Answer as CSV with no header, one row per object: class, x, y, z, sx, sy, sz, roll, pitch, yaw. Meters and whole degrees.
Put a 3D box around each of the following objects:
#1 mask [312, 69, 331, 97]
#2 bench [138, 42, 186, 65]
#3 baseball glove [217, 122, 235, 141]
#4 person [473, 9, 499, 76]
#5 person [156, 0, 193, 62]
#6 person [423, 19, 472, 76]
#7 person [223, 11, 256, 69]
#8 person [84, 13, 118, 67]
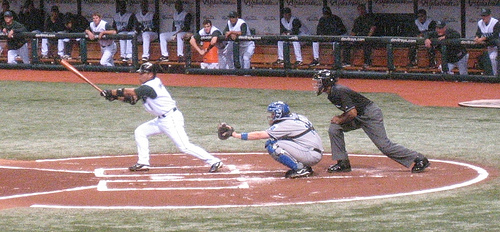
mask,1.984,-0.929,21.104,0.482,0.648,0.319,-1,6,5
bench,-3.371,-2.467,30.115,2.579,0.834,0.595,1,2,11
baseball glove,-0.660,0.417,21.057,0.631,0.373,0.233,6,-2,1
person,8.412,-2.622,27.359,0.798,2.357,0.520,0,7,13
person,-2.884,-3.323,30.103,1.214,2.335,0.430,1,7,23
person,7.180,-2.485,28.030,1.695,2.005,0.986,-1,6,9
person,-0.291,-2.905,29.218,1.052,2.199,1.102,1,6,22
person,-5.758,-2.971,29.958,1.147,2.089,0.848,-2,6,-7
